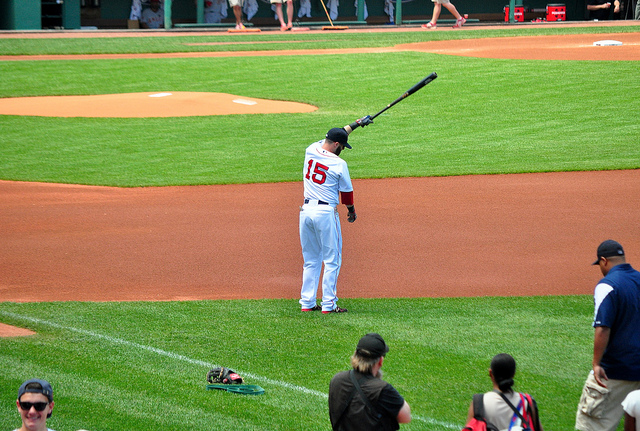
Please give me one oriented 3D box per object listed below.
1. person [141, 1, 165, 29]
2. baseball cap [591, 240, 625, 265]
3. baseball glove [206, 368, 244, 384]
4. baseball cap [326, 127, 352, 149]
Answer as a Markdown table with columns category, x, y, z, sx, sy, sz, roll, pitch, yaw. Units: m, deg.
| category | x | y | z | sx | sy | sz | roll | pitch | yaw |
| --- | --- | --- | --- | --- | --- | --- | --- | --- | --- |
| person | -6.297 | -7.668 | 42.493 | 0.766 | 1.005 | 1.186 | 2 | 3 | -1 |
| baseball cap | 4.610 | 0.584 | 18.285 | 0.494 | 0.236 | 0.341 | -23 | -17 | 31 |
| baseball glove | -1.589 | 2.717 | 18.902 | 0.611 | 0.249 | 0.192 | 2 | 4 | -4 |
| baseball cap | 0.327 | -1.474 | 20.587 | 0.487 | 0.252 | 0.297 | 19 | 15 | -26 |
